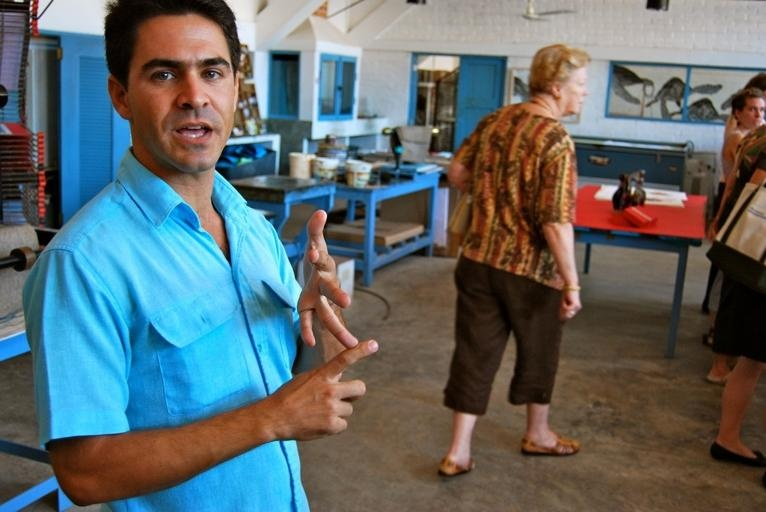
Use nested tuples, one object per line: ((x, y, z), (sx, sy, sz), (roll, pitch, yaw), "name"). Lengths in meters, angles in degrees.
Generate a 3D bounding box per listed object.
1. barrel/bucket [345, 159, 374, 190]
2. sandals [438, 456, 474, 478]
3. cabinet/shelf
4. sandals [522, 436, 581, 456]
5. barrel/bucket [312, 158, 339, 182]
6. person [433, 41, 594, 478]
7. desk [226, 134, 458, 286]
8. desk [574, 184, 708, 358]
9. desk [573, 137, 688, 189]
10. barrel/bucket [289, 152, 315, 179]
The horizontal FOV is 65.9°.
((-0.264, -0.794, 5.878), (0.252, 0.210, 0.275), (1, 2, 0), "barrel/bucket")
((0.394, 1.148, 3.210), (0.185, 0.072, 0.093), (-7, 10, -29), "sandals")
((-1.231, -2.625, 9.721), (1.274, 1.353, 2.187), (6, 13, 20), "cabinet/shelf")
((0.971, 1.086, 3.385), (0.288, 0.098, 0.136), (-3, 10, -3), "sandals")
((-0.558, -0.841, 5.766), (0.257, 0.232, 0.246), (3, 17, -1), "barrel/bucket")
((0.709, 0.079, 3.086), (0.746, 2.247, 0.469), (5, 15, 11), "person")
((-0.503, -0.284, 6.439), (1.492, 0.967, 2.042), (5, 11, 25), "desk")
((2.236, 0.028, 5.322), (1.114, 0.858, 1.708), (5, 14, 20), "desk")
((4.162, -1.565, 9.642), (0.780, 0.750, 2.207), (-23, 24, -26), "desk")
((-0.821, -0.853, 5.770), (0.286, 0.280, 0.266), (1, 10, 0), "barrel/bucket")
